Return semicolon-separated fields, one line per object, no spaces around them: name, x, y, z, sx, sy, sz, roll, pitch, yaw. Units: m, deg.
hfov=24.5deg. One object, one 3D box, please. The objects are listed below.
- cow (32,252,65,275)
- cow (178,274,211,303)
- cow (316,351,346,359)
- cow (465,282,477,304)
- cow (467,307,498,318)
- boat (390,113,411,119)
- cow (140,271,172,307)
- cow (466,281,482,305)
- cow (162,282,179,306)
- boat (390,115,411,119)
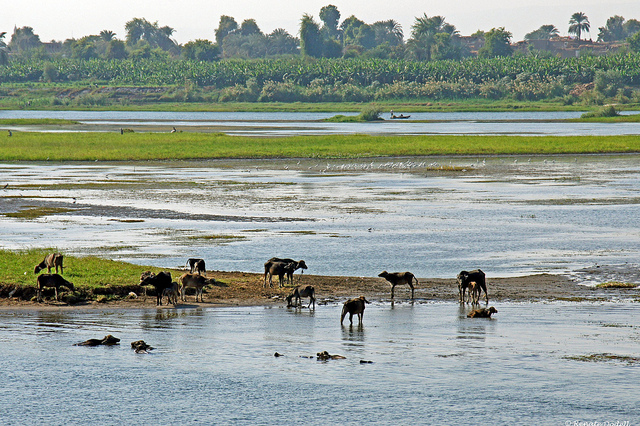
cow;-21.838;4.088;119.268;2.393;1.801;1.567;1;-1;29
cow;-9.932;6.007;117.557;3.275;2.068;0.884;3;-8;-23
cow;0.631;10.659;111.117;1.745;0.495;0.206;1;0;-1
cow;12.086;6.280;117.503;0.722;1.551;0.624;1;0;5
cow;12.569;7.795;115.342;2.427;1.086;0.788;-3;4;-7
boat;13.921;-17.095;257.957;3.758;1.067;1.102;-1;2;-3
cow;-12.928;5.968;117.085;1.123;2.553;3.960;-5;-1;31
cow;12.176;6.330;117.600;1.026;1.737;1.015;1;0;5
cow;-11.875;6.331;117.229;1.188;1.760;1.253;1;0;-6
boat;14.786;-16.776;257.624;4.851;0.733;0.940;3;0;21
